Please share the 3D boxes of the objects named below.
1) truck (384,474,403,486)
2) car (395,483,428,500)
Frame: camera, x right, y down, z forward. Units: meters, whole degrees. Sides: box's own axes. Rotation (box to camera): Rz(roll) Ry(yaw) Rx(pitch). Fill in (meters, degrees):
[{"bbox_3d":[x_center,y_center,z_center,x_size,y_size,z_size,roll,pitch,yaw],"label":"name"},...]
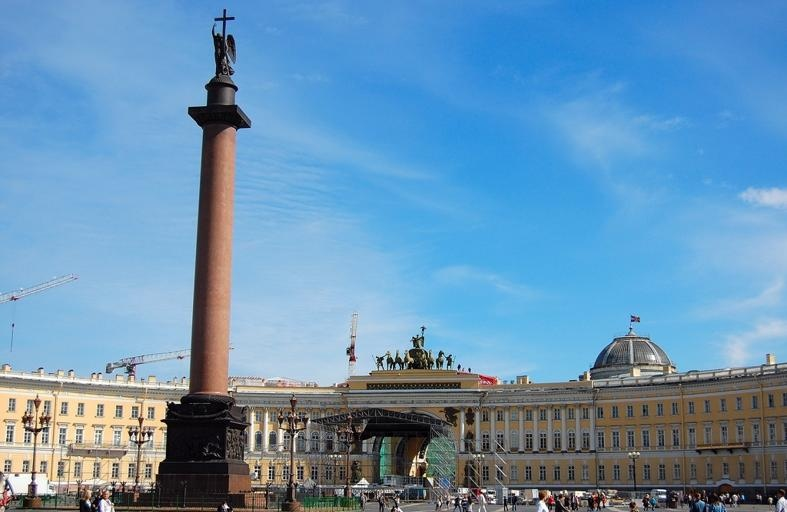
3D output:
[{"bbox_3d":[-0.033,26.584,164.829,1.270,0.976,2.171,-7,-15,29],"label":"truck"},{"bbox_3d":[2.507,27.300,160.793,3.149,1.270,2.021,0,3,3],"label":"car"}]
